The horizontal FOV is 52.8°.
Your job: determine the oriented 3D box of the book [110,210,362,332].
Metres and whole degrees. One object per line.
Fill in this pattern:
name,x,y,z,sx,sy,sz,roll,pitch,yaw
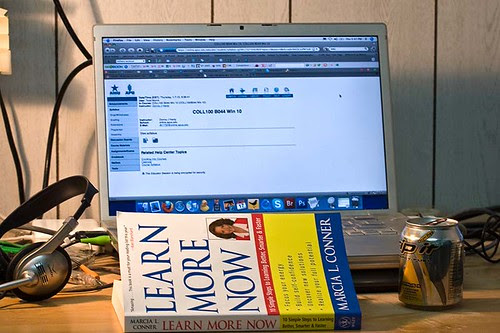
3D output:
book,-0.021,0.188,0.896,0.343,0.090,0.228,1,42,-7

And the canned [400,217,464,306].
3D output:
canned,0.341,0.167,0.938,0.101,0.154,0.101,-9,16,-28
